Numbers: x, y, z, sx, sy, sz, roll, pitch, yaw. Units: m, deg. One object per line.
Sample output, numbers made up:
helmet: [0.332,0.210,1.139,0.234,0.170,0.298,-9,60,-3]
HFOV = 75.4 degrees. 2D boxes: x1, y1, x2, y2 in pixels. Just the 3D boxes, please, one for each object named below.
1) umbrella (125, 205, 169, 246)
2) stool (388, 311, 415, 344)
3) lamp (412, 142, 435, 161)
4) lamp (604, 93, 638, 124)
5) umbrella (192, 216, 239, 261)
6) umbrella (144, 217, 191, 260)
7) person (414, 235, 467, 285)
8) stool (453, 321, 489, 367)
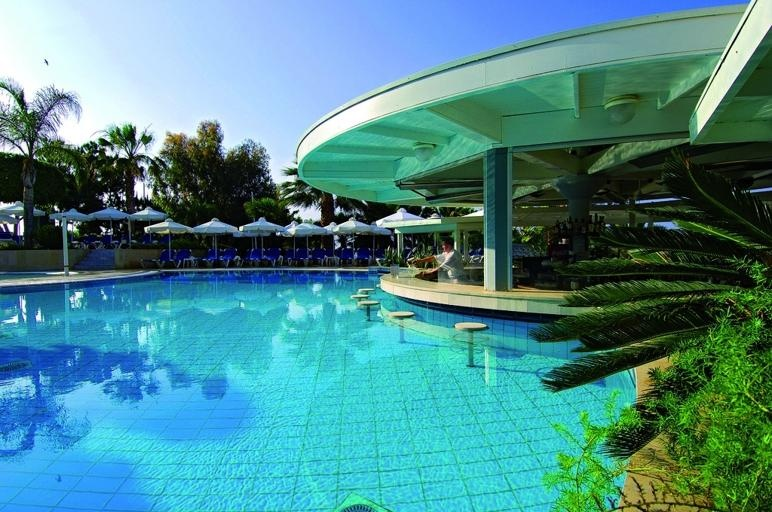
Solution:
umbrella: [-12.975,-1.853,27.126,2.257,1.722,2.214,5,7,41]
stool: [0.310,1.323,9.554,0.533,0.525,0.537,-1,1,-14]
lamp: [0.892,-2.504,11.931,0.450,0.292,0.421,0,3,-3]
lamp: [4.295,-2.696,9.289,0.575,0.364,0.536,-1,-1,-12]
umbrella: [-9.183,-1.095,26.758,2.566,1.782,2.185,-1,2,-2]
umbrella: [-11.298,-1.001,26.039,2.198,1.907,2.061,-3,13,-35]
person: [1.269,0.424,12.248,1.419,1.626,0.925,-1,1,5]
stool: [1.368,1.418,8.096,0.633,0.615,0.606,-1,2,-9]
